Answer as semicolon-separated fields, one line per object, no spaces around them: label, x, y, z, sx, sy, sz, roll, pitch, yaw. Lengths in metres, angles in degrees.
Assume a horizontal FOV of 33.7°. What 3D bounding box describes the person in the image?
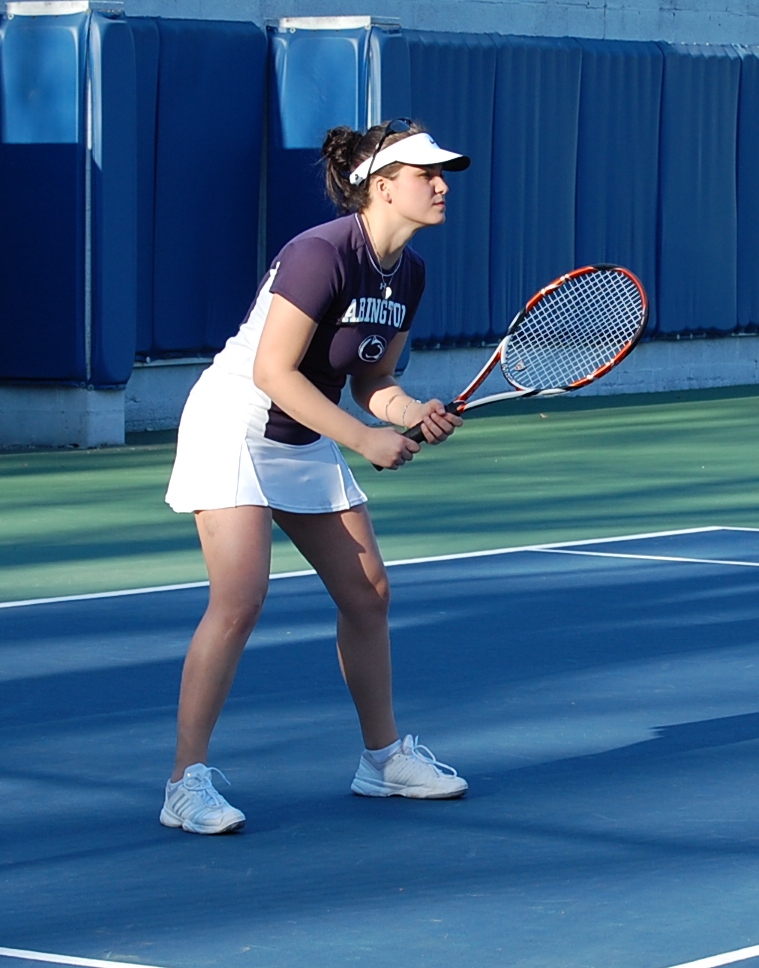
person;-0.120;-0.024;2.799;0.516;1.592;0.673;1;1;43

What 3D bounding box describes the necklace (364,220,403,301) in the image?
necklace;0.004;-0.476;2.666;0.043;0.145;0.079;-6;-3;29

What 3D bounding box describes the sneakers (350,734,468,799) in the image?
sneakers;0.066;0.695;3.124;0.353;0.174;0.123;2;0;3

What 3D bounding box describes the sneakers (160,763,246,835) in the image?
sneakers;-0.395;0.677;2.744;0.238;0.130;0.105;3;0;36

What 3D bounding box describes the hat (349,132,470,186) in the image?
hat;0.061;-0.701;2.718;0.226;0.069;0.138;-14;0;22

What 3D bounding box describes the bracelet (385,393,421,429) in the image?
bracelet;0.054;-0.169;2.999;0.072;0.085;0.026;-1;34;5
